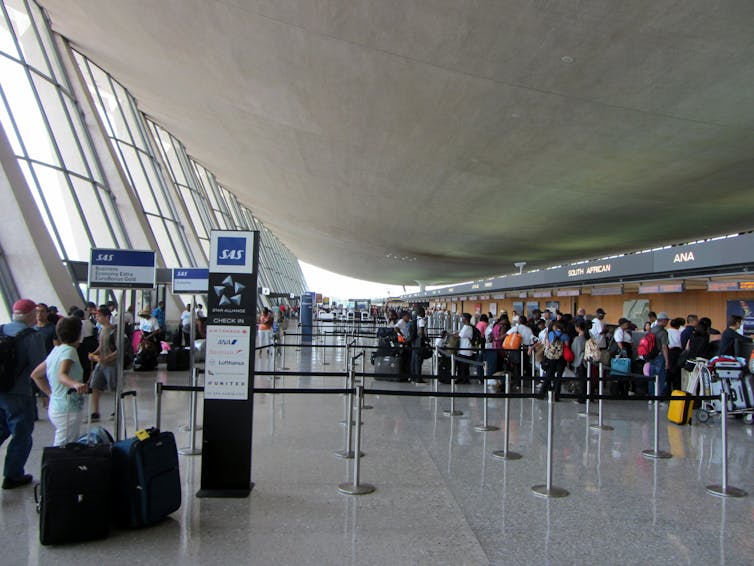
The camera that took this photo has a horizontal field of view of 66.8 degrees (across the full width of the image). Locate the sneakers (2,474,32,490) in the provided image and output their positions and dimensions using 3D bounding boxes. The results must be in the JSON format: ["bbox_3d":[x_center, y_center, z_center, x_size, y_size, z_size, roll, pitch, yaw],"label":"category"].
[{"bbox_3d":[-4.375,2.419,6.983,0.328,0.128,0.117,-2,4,-36],"label":"sneakers"}]

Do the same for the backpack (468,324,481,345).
[{"bbox_3d":[2.640,1.394,15.490,0.409,0.795,0.544,0,-2,9],"label":"backpack"}]

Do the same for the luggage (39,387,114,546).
[{"bbox_3d":[-3.183,2.166,6.070,0.708,0.982,0.589,2,0,-24],"label":"luggage"}]

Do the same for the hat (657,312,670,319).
[{"bbox_3d":[6.124,0.699,12.261,0.204,0.104,0.297,-5,-5,29],"label":"hat"}]

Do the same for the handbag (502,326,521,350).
[{"bbox_3d":[3.360,1.379,14.219,0.261,0.538,0.554,23,-13,-16],"label":"handbag"}]

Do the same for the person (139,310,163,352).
[{"bbox_3d":[-6.119,1.281,15.437,0.474,1.301,1.159,-1,6,-21],"label":"person"}]

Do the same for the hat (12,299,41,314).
[{"bbox_3d":[-4.402,0.288,7.187,0.195,0.152,0.275,7,35,-1],"label":"hat"}]

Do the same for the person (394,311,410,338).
[{"bbox_3d":[0.690,1.078,15.635,0.400,0.727,0.884,2,6,0],"label":"person"}]

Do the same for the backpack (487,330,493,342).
[{"bbox_3d":[3.470,1.656,17.558,0.117,0.250,0.180,9,-3,-23],"label":"backpack"}]

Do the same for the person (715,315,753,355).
[{"bbox_3d":[6.907,1.031,10.906,1.177,0.874,0.475,-4,8,-44],"label":"person"}]

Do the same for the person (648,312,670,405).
[{"bbox_3d":[5.809,1.479,11.727,0.425,1.540,1.037,5,7,26],"label":"person"}]

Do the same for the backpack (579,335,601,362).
[{"bbox_3d":[4.520,1.406,12.207,0.281,0.535,0.371,13,-35,-20],"label":"backpack"}]

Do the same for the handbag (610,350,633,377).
[{"bbox_3d":[5.188,1.723,12.172,0.489,0.675,0.240,-3,-13,22],"label":"handbag"}]

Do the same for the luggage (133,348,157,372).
[{"bbox_3d":[-6.146,2.047,15.416,0.695,0.726,0.439,0,8,-6],"label":"luggage"}]

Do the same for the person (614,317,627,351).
[{"bbox_3d":[5.564,1.166,13.057,0.273,0.756,0.792,4,6,23],"label":"person"}]

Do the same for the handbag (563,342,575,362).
[{"bbox_3d":[4.140,1.491,12.334,0.169,0.440,0.445,-11,-6,32],"label":"handbag"}]

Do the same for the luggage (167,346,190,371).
[{"bbox_3d":[-5.396,2.071,15.552,0.396,0.707,0.747,0,-2,8],"label":"luggage"}]

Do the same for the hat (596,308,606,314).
[{"bbox_3d":[6.192,0.767,15.809,0.266,0.114,0.351,-1,-6,14],"label":"hat"}]

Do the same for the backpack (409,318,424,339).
[{"bbox_3d":[1.060,1.227,15.276,0.522,0.512,0.294,-3,-7,32],"label":"backpack"}]

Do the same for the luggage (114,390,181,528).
[{"bbox_3d":[-2.660,1.948,6.424,0.686,1.391,0.811,-2,-3,13],"label":"luggage"}]
